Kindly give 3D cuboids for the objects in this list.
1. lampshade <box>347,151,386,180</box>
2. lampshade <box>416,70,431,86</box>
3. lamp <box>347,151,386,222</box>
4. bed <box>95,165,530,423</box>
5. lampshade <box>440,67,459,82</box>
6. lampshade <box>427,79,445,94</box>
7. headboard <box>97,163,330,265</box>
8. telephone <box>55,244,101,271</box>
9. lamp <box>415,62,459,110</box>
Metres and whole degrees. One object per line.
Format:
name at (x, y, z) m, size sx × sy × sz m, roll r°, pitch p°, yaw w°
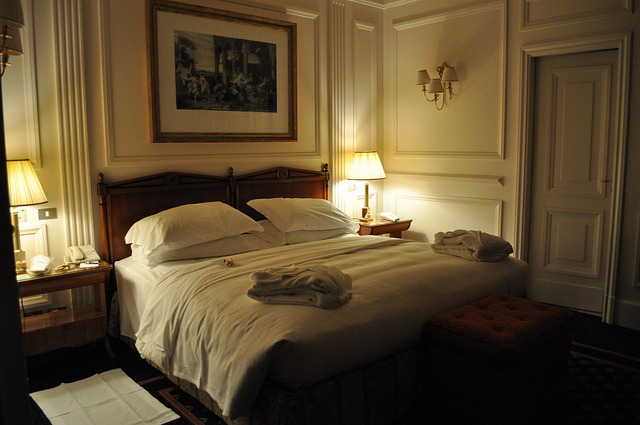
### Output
lampshade at (0.581, -0.504, 5.686) m, size 0.553 × 0.534 × 0.562 m, roll -3°, pitch 5°, yaw 3°
lampshade at (1.234, -1.609, 5.322) m, size 0.169 × 0.177 × 0.227 m, roll 0°, pitch 10°, yaw 12°
lamp at (0.554, -0.333, 5.644) m, size 0.488 × 0.911 × 0.406 m, roll -5°, pitch 7°, yaw -41°
bed at (-0.154, 0.454, 4.025) m, size 2.780 × 1.692 × 2.878 m, roll -10°, pitch 13°, yaw -39°
lampshade at (1.490, -1.565, 5.121) m, size 0.158 × 0.162 × 0.180 m, roll 1°, pitch 11°, yaw 19°
lampshade at (1.370, -1.479, 5.281) m, size 0.172 × 0.121 × 0.168 m, roll -5°, pitch 14°, yaw 1°
headboard at (-1.071, 0.101, 5.095) m, size 2.519 × 1.591 × 0.126 m, roll -7°, pitch 44°, yaw -28°
telephone at (-2.139, 0.388, 3.917) m, size 0.336 × 0.133 × 0.298 m, roll -8°, pitch 12°, yaw -33°
lamp at (1.412, -1.484, 5.300) m, size 0.278 × 0.562 × 0.566 m, roll -8°, pitch 12°, yaw -37°
